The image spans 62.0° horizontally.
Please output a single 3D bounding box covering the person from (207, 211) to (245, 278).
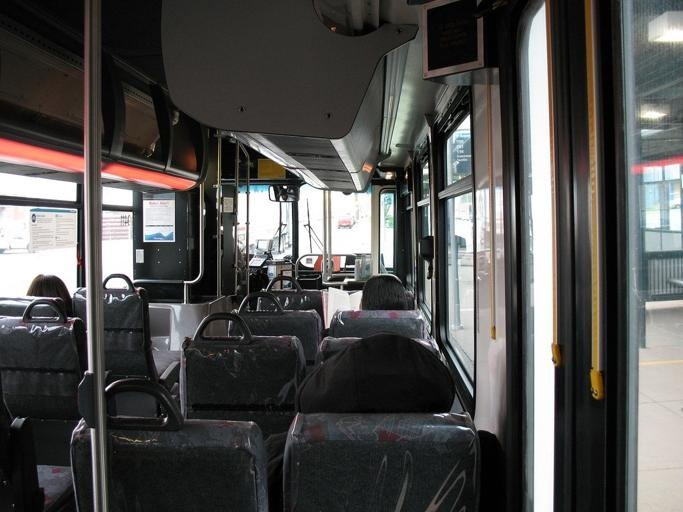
[{"bbox_3d":[-1.200,-0.091,6.049,0.279,0.512,0.836,-2,0,10],"label":"person"}]
